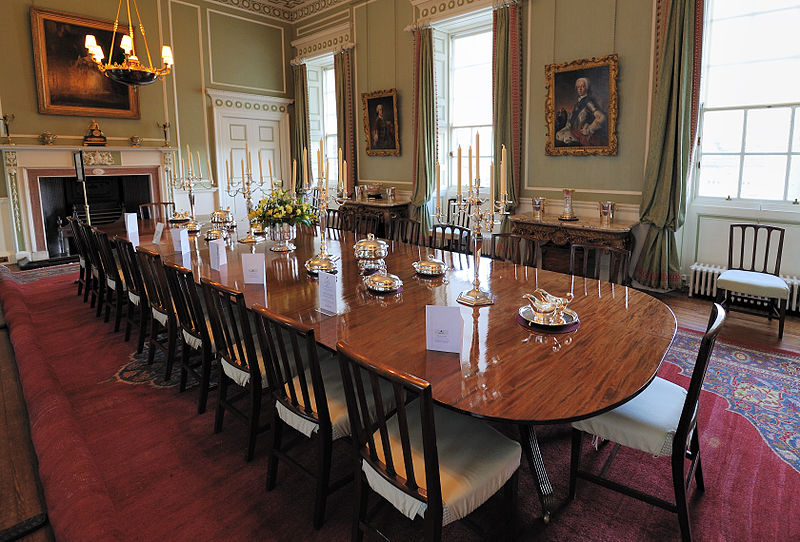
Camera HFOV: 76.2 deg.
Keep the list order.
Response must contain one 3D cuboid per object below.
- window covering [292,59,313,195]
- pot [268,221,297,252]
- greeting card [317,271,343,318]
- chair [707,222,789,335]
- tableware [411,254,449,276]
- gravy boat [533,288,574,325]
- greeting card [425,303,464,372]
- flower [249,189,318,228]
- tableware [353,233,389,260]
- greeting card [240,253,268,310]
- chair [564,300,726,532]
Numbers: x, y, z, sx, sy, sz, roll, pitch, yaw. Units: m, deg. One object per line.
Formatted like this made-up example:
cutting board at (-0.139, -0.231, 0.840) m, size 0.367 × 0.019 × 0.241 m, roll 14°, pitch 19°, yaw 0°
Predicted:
window covering at (-1.804, -2.768, 9.469) m, size 0.237 × 2.191 × 0.484 m, roll 27°, pitch 39°, yaw 27°
pot at (-1.102, -0.310, 4.710) m, size 0.252 × 0.261 × 0.248 m, roll 1°, pitch 20°, yaw 0°
greeting card at (-0.483, 0.148, 3.419) m, size 0.137 × 0.255 × 0.177 m, roll -14°, pitch -18°, yaw 31°
chair at (3.475, 0.087, 5.061) m, size 0.689 × 1.256 × 0.745 m, roll 10°, pitch 25°, yaw 36°
tableware at (0.237, -0.030, 4.008) m, size 0.174 × 0.109 × 0.178 m, roll 12°, pitch 18°, yaw 39°
gravy boat at (0.939, 0.242, 3.379) m, size 0.309 × 0.219 × 0.246 m, roll 5°, pitch 6°, yaw 4°
greeting card at (0.266, 0.348, 3.006) m, size 0.221 × 0.301 × 0.140 m, roll -1°, pitch 13°, yaw 3°
flower at (-1.035, -0.537, 4.517) m, size 0.393 × 0.292 × 0.383 m, roll -6°, pitch 12°, yaw -39°
tableware at (-0.248, -0.181, 4.130) m, size 0.224 × 0.182 × 0.233 m, roll 10°, pitch 15°, yaw 33°
greeting card at (-1.102, 0.002, 3.859) m, size 0.166 × 0.330 × 0.025 m, roll -7°, pitch 26°, yaw -23°
chair at (1.492, 0.872, 3.161) m, size 0.777 × 1.359 × 0.754 m, roll 6°, pitch 15°, yaw 30°
